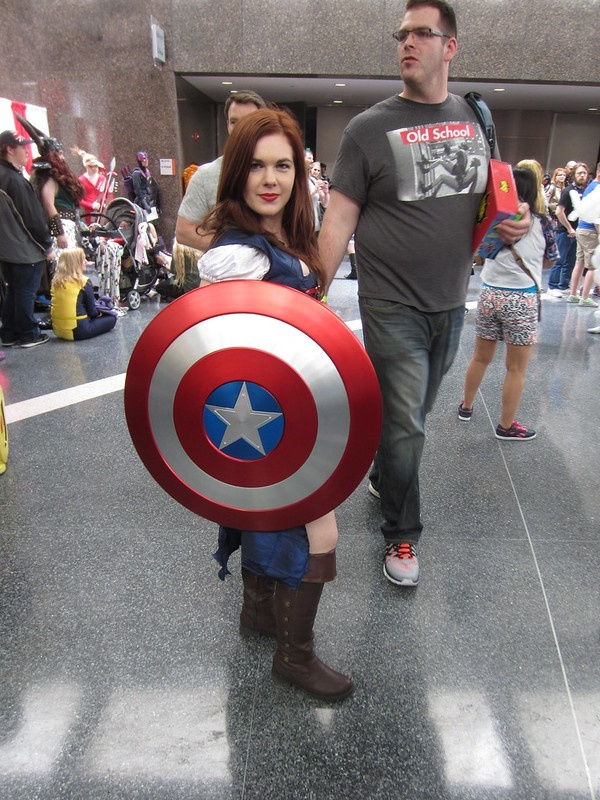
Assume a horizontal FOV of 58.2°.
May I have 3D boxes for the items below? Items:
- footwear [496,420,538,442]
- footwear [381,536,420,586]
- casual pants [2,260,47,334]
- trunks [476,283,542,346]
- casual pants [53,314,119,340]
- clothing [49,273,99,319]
[{"bbox_3d":[1.200,0.172,2.946,0.229,0.102,0.089,-1,10,-5],"label":"footwear"},{"bbox_3d":[0.337,0.534,1.749,0.070,0.074,0.174,2,3,2],"label":"footwear"},{"bbox_3d":[-2.320,-0.839,4.531,0.301,0.625,0.372,-1,24,-7],"label":"casual pants"},{"bbox_3d":[1.068,-0.442,2.758,0.302,0.269,0.178,26,48,31],"label":"trunks"},{"bbox_3d":[-1.889,-0.662,4.856,0.290,0.155,0.397,6,31,35],"label":"casual pants"},{"bbox_3d":[-1.966,-0.884,4.785,0.405,0.345,0.395,-10,26,-26],"label":"clothing"}]
